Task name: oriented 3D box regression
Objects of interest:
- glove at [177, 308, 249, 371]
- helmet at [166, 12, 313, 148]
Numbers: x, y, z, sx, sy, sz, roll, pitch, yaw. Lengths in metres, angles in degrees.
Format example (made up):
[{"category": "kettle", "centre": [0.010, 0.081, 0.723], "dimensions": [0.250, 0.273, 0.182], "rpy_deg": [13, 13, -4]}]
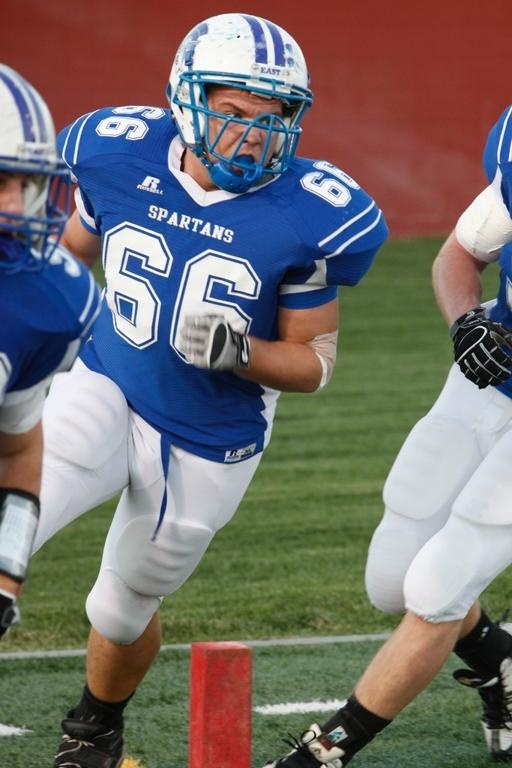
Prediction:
[{"category": "glove", "centre": [-0.058, -0.067, 1.437], "dimensions": [0.143, 0.106, 0.085], "rpy_deg": [6, 16, -36]}, {"category": "helmet", "centre": [-0.055, -0.604, 1.630], "dimensions": [0.268, 0.244, 0.341], "rpy_deg": [-9, 21, -43]}]
